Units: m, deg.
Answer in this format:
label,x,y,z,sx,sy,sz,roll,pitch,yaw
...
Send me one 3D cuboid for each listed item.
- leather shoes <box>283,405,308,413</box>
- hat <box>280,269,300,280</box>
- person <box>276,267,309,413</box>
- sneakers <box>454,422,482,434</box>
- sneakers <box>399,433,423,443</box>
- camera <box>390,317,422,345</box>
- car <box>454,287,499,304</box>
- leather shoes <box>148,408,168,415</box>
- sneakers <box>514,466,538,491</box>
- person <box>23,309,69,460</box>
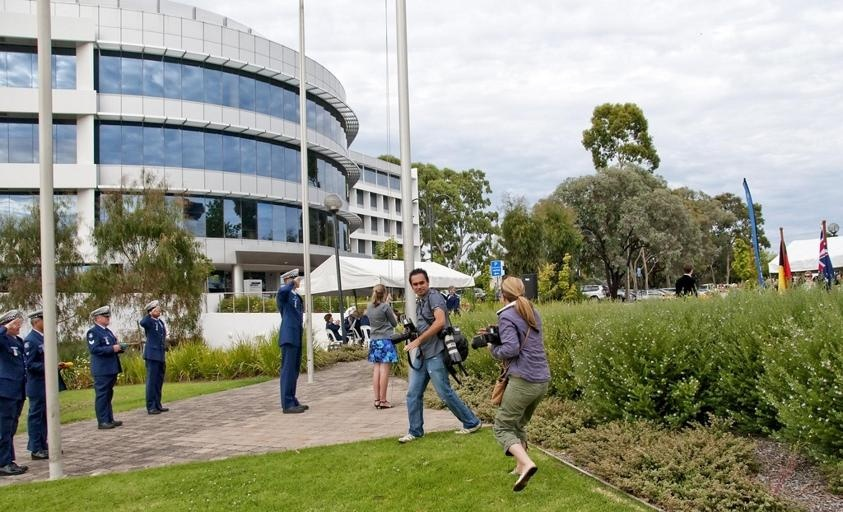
label,x,y,z,sx,sy,sz,roll,pitch,yaw
leather shoes,-3.392,4.123,20.518,0.604,0.288,0.228,-5,1,5
hat,-3.687,0.517,20.905,0.464,0.197,0.415,-13,-10,13
person,-3.590,2.290,20.883,0.760,3.735,1.448,-4,6,-11
sneakers,1.050,4.044,18.056,0.652,0.302,0.231,-1,-2,-5
sneakers,-0.261,4.220,17.704,0.552,0.231,0.194,4,-10,-19
camera,-0.452,1.803,18.066,0.559,0.602,0.269,-10,1,-21
car,2.989,2.204,44.331,1.320,1.201,2.417,1,-10,-31
leather shoes,-7.414,4.377,21.542,0.539,0.241,0.188,-5,-6,12
sneakers,2.070,4.506,15.457,0.190,0.525,0.225,26,15,-25
person,-9.390,3.160,18.593,0.606,3.506,0.937,-6,7,-27
